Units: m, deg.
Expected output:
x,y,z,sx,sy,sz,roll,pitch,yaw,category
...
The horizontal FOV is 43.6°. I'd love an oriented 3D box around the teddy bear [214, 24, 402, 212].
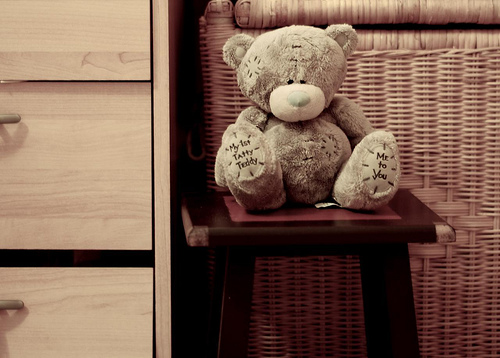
x,y,z,sx,sy,sz,roll,pitch,yaw,category
0.131,-0.124,1.580,0.554,0.497,0.428,-3,14,-3,teddy bear
